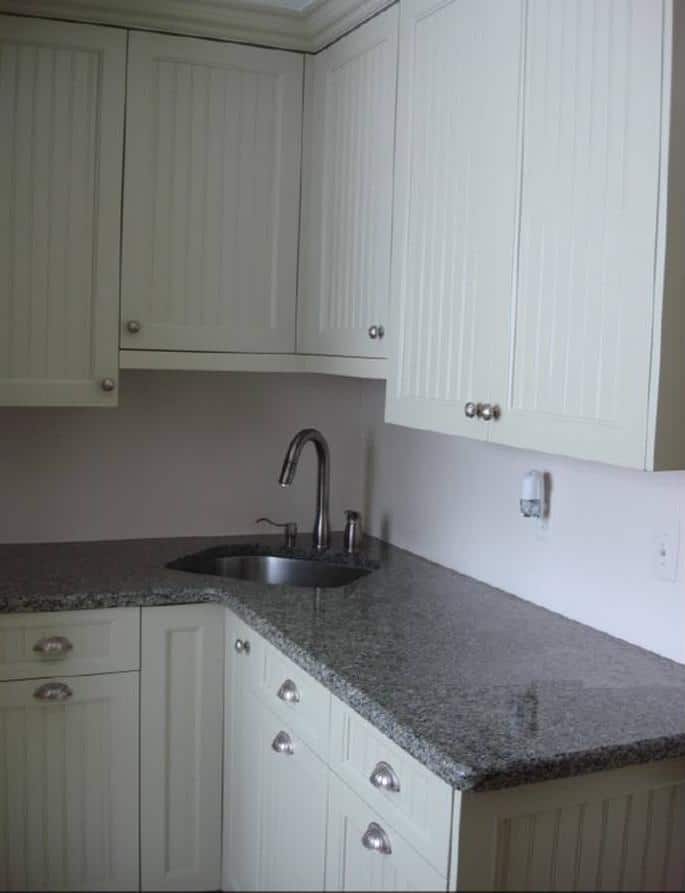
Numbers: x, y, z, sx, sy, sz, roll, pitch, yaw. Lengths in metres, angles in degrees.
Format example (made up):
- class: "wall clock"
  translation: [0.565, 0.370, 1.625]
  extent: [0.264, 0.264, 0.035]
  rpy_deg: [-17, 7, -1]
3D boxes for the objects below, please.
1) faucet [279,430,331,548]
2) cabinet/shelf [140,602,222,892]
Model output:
- class: "faucet"
  translation: [-0.104, 0.130, 2.230]
  extent: [0.150, 0.364, 0.601]
  rpy_deg: [-1, 4, -2]
- class: "cabinet/shelf"
  translation: [-0.392, 0.758, 1.825]
  extent: [0.209, 0.763, 0.089]
  rpy_deg: [-2, 3, -23]
